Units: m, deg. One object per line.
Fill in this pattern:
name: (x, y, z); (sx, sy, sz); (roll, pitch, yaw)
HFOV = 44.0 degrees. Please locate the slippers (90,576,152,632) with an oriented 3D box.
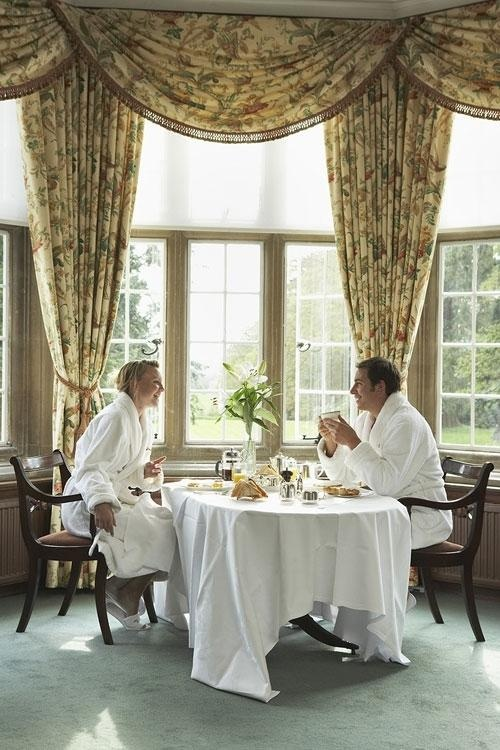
slippers: (-0.574, 1.040, 2.796); (0.146, 0.339, 0.105); (-35, 18, 6)

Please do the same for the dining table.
dining table: (0.079, 0.799, 2.577); (0.898, 0.552, 1.103); (4, -5, -21)

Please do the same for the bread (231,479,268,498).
bread: (0.000, 0.440, 2.397); (0.101, 0.047, 0.075); (2, -8, -10)

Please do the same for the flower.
flower: (-0.023, 0.133, 2.974); (0.372, 0.300, 0.298); (-12, 27, -39)

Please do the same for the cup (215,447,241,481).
cup: (-0.074, 0.428, 2.929); (0.163, 0.164, 0.103); (-1, -1, 0)

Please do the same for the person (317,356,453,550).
person: (0.639, 0.445, 2.902); (0.614, 0.953, 0.605); (-3, -4, 27)

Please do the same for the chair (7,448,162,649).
chair: (-0.740, 0.776, 2.885); (0.605, 0.755, 0.551); (-2, -8, 0)
